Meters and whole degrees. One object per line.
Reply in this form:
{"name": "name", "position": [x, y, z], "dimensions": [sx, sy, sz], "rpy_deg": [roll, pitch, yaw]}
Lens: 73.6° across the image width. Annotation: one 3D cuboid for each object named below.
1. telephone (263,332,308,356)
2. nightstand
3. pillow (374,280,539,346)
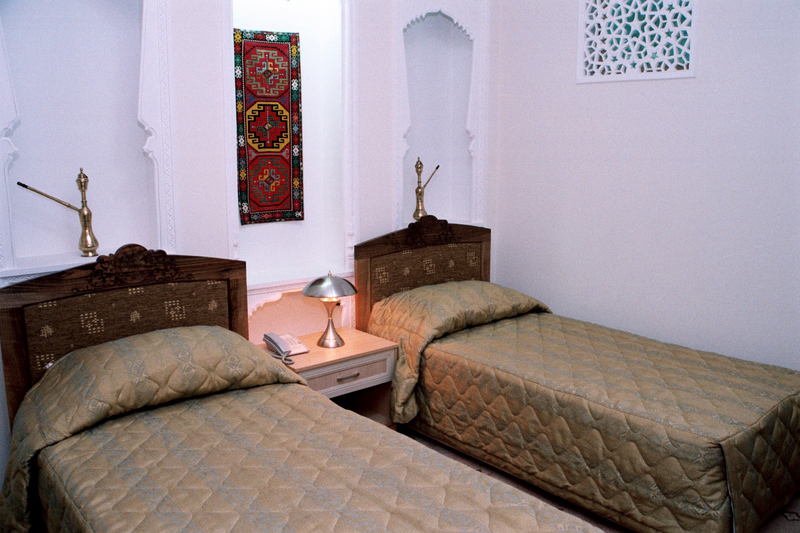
{"name": "telephone", "position": [-0.789, 0.486, 3.616], "dimensions": [0.184, 0.077, 0.192], "rpy_deg": [7, 8, 38]}
{"name": "nightstand", "position": [-0.465, 0.577, 3.747], "dimensions": [0.660, 0.643, 0.508], "rpy_deg": [-11, 18, -42]}
{"name": "pillow", "position": [0.462, 0.284, 3.985], "dimensions": [0.886, 0.225, 0.507], "rpy_deg": [-10, 13, -37]}
